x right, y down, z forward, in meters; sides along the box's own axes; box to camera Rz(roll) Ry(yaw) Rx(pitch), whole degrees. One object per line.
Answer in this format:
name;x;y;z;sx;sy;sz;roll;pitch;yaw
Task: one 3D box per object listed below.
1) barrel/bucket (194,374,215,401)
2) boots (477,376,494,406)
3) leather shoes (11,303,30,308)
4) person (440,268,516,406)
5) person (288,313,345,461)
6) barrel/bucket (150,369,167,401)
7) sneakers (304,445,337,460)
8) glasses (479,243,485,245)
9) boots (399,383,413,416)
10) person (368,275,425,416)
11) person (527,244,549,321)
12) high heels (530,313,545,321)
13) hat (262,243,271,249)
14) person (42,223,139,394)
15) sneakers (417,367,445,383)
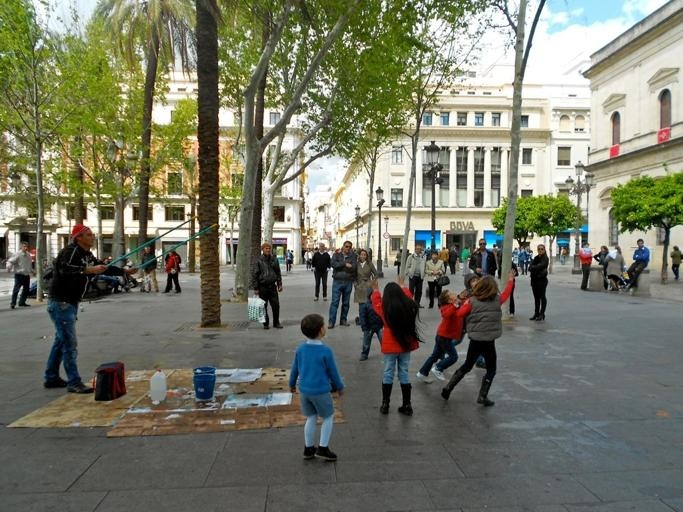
barrel/bucket;-2.002;1.946;8.609;0.363;0.416;0.369;1;2;0
boots;2.180;2.002;8.598;0.236;0.377;0.384;-1;0;13
leather shoes;-10.005;1.530;17.663;0.443;0.184;0.151;-3;1;-6
person;2.145;1.251;8.898;0.800;1.696;1.048;-1;0;23
person;-0.324;1.635;7.125;0.644;1.717;0.282;-1;0;-7
barrel/bucket;-2.785;1.962;8.581;0.224;0.533;0.220;-1;0;0
sneakers;-0.268;2.434;7.155;0.407;0.179;0.174;3;-2;-2
glasses;3.721;-0.291;14.949;0.135;0.046;0.268;-1;0;8
boots;0.953;2.050;8.250;0.241;0.419;0.242;-1;0;-23
person;0.813;1.331;8.489;0.673;1.727;0.782;-1;0;3
person;5.254;0.678;15.109;0.439;1.598;1.758;-1;0;20
high heels;4.999;1.563;14.653;0.433;0.198;0.148;5;0;-6
hat;-1.836;-0.220;13.933;0.151;0.183;0.191;-1;6;-25
person;-4.262;0.804;9.060;0.827;2.850;1.217;-1;0;-38
sneakers;1.503;1.996;9.579;0.596;0.265;0.197;1;22;-20
